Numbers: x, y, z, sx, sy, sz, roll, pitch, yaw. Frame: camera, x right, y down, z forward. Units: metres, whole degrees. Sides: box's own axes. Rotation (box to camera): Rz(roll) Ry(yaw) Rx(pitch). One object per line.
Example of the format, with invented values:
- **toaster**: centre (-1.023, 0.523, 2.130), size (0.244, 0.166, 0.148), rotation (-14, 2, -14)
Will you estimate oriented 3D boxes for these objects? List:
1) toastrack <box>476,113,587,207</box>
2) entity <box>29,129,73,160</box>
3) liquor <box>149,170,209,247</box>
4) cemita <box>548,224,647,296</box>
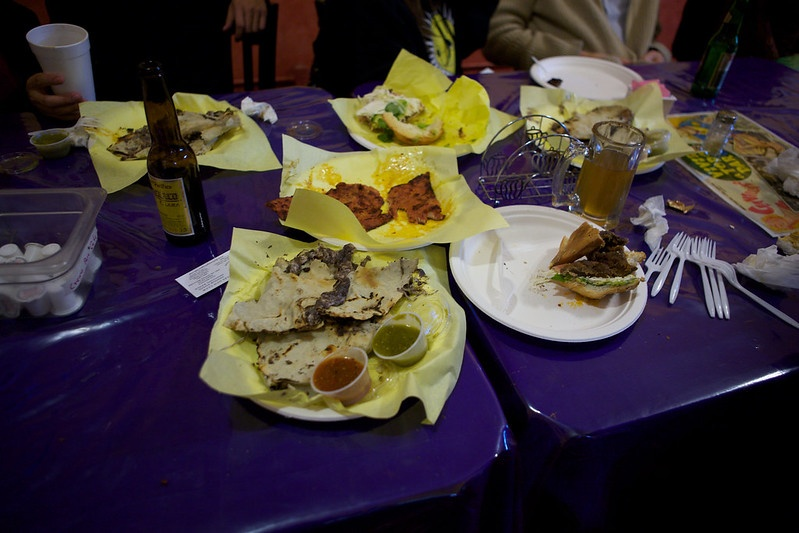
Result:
- **toastrack**: centre (0.504, -0.429, 2.183), size (0.353, 0.440, 0.433), rotation (-19, 34, -30)
- **entity**: centre (-1.335, -0.473, 2.047), size (0.138, 0.062, 0.130), rotation (1, 47, -8)
- **liquor**: centre (-0.710, -0.174, 1.737), size (0.130, 0.254, 0.135), rotation (17, 30, 18)
- **cemita**: centre (0.651, -0.003, 1.729), size (0.250, 0.130, 0.275), rotation (10, 35, 3)
